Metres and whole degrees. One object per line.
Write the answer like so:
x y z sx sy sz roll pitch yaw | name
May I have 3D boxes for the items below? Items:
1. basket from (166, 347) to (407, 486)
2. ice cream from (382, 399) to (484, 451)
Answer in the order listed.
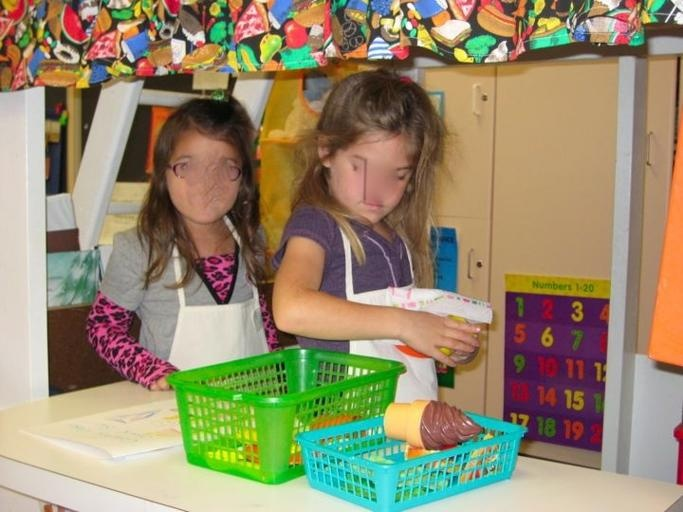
-0.081 0.191 0.994 0.204 0.117 0.287 8 14 37 | basket
0.134 0.248 0.880 0.130 0.080 0.071 3 0 23 | ice cream
